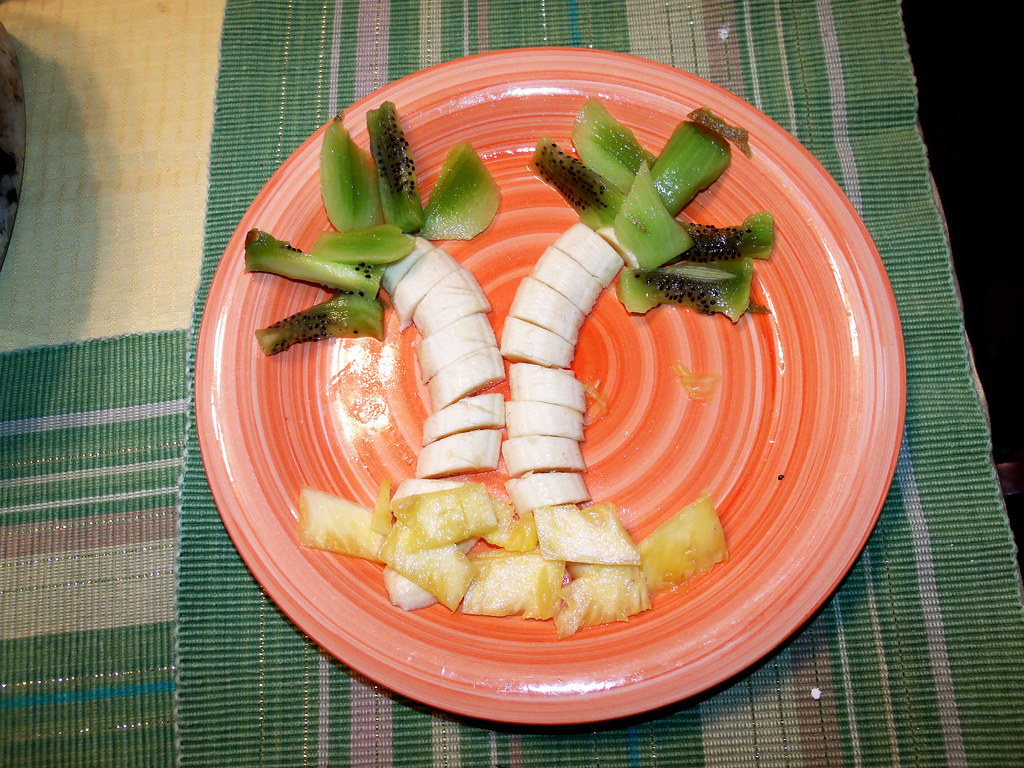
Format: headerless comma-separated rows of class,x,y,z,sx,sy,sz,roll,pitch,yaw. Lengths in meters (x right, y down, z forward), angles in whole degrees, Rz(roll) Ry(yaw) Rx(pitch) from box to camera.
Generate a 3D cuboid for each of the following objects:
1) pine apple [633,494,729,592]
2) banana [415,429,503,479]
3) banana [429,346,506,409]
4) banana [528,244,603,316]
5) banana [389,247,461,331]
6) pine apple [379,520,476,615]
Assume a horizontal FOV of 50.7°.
pine apple,0.454,0.441,2.975,0.282,0.203,0.313,1,36,6
banana,-0.144,0.199,3.033,0.227,0.128,0.093,-10,-8,-9
banana,-0.131,-0.017,3.100,0.214,0.137,0.061,-29,-6,-3
banana,0.163,-0.294,3.075,0.246,0.157,0.068,38,-7,1
banana,-0.248,-0.264,3.123,0.051,0.190,0.181,12,29,-42
pine apple,-0.236,0.505,2.995,0.187,0.186,0.260,-17,36,-22
